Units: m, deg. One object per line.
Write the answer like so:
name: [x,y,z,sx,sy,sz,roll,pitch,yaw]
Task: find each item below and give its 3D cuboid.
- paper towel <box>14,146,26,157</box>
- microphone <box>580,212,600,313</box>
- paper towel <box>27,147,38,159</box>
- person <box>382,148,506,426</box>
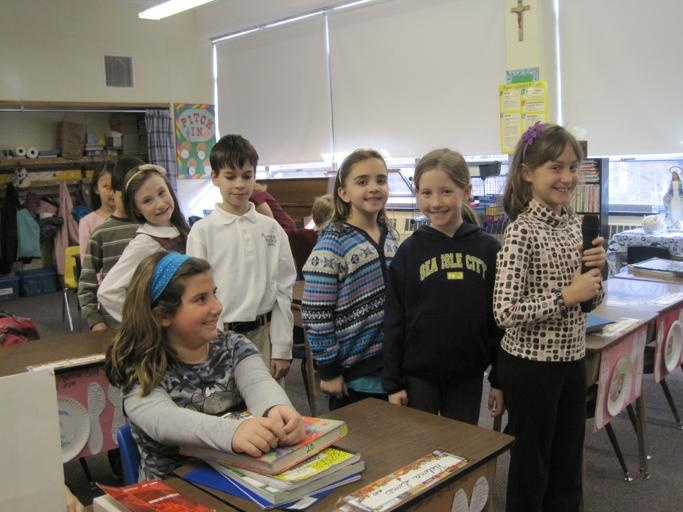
paper towel: [-4.884,-1.585,8.032,0.146,0.159,0.169,-8,10,-36]
microphone: [0.911,0.040,1.942,0.052,0.399,0.225,2,9,25]
paper towel: [-4.699,-1.556,8.078,0.150,0.173,0.195,1,2,-17]
person: [0.432,0.132,2.187,0.484,1.143,0.399,0,9,13]
